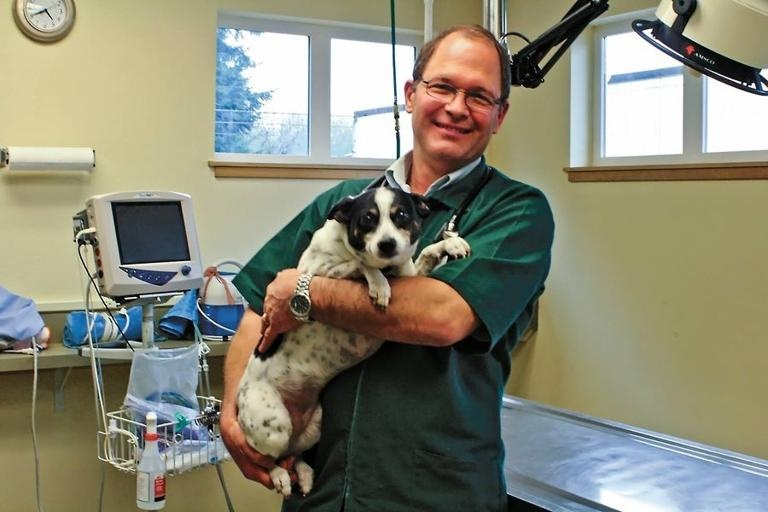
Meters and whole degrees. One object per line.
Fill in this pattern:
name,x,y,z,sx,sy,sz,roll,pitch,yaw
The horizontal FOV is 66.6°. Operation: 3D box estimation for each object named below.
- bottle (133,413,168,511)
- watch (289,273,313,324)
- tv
bottle,-0.931,0.814,2.354,0.106,0.393,0.179,0,10,-22
watch,-0.231,0.119,1.719,0.067,0.120,0.108,8,23,2
tv,-1.138,-0.028,2.834,0.475,0.525,0.229,-3,-13,-46
